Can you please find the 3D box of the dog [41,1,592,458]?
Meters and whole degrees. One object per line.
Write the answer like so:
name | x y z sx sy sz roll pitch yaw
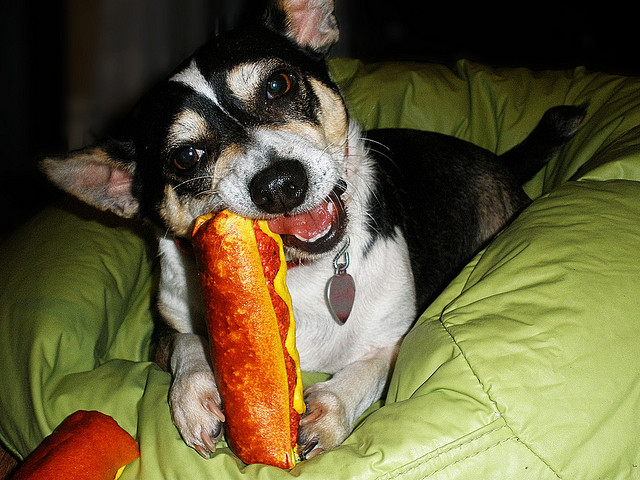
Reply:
dog | 0.434 -0.274 3.533 1.131 1.573 3.306 -5 9 34

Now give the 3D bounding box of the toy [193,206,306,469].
toy | -0.226 0.364 2.292 0.283 1.040 0.299 -5 10 17
